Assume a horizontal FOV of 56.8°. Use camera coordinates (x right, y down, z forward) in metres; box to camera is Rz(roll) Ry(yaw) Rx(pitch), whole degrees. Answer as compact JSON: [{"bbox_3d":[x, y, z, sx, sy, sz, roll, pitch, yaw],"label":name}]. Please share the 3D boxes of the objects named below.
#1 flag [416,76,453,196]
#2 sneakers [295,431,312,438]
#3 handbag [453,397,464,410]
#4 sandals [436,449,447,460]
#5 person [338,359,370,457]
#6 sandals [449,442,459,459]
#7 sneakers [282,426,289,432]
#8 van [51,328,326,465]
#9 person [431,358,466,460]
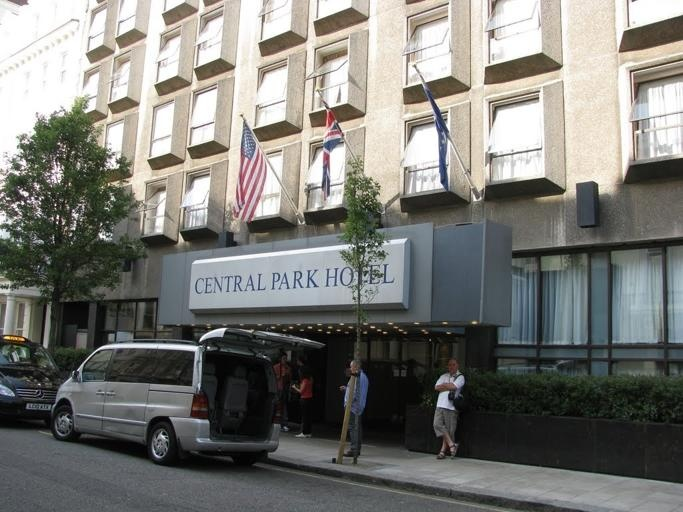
[{"bbox_3d":[2.666,-3.785,18.429,1.117,3.518,1.960,3,0,7],"label":"flag"},{"bbox_3d":[-1.066,5.185,18.199,0.481,0.202,0.177,4,-11,1],"label":"sneakers"},{"bbox_3d":[2.770,3.516,14.992,0.263,0.270,0.149,8,-7,-15],"label":"handbag"},{"bbox_3d":[2.399,4.776,15.077,0.135,0.123,0.310,-7,-20,23],"label":"sandals"},{"bbox_3d":[0.330,3.584,14.626,0.459,2.195,1.012,3,0,2],"label":"person"},{"bbox_3d":[2.678,4.651,15.023,0.163,0.412,0.148,9,27,8],"label":"sandals"},{"bbox_3d":[-1.732,5.373,19.587,0.174,0.093,0.288,2,-14,-17],"label":"sneakers"},{"bbox_3d":[-3.541,2.849,13.876,5.434,2.584,1.926,3,0,26],"label":"van"},{"bbox_3d":[2.571,3.670,15.126,0.656,2.360,0.510,3,0,9],"label":"person"}]
